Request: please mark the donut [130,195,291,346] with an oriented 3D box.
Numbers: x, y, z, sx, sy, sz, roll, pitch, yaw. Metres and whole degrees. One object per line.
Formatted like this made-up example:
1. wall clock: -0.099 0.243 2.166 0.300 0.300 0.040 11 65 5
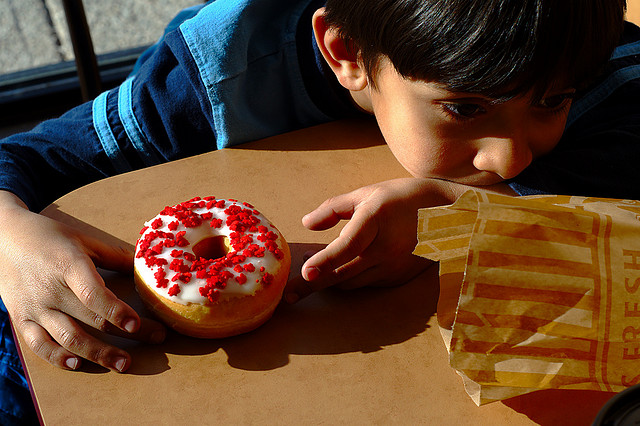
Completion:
1. donut: -0.210 0.097 1.294 0.301 0.147 0.322 20 44 18
